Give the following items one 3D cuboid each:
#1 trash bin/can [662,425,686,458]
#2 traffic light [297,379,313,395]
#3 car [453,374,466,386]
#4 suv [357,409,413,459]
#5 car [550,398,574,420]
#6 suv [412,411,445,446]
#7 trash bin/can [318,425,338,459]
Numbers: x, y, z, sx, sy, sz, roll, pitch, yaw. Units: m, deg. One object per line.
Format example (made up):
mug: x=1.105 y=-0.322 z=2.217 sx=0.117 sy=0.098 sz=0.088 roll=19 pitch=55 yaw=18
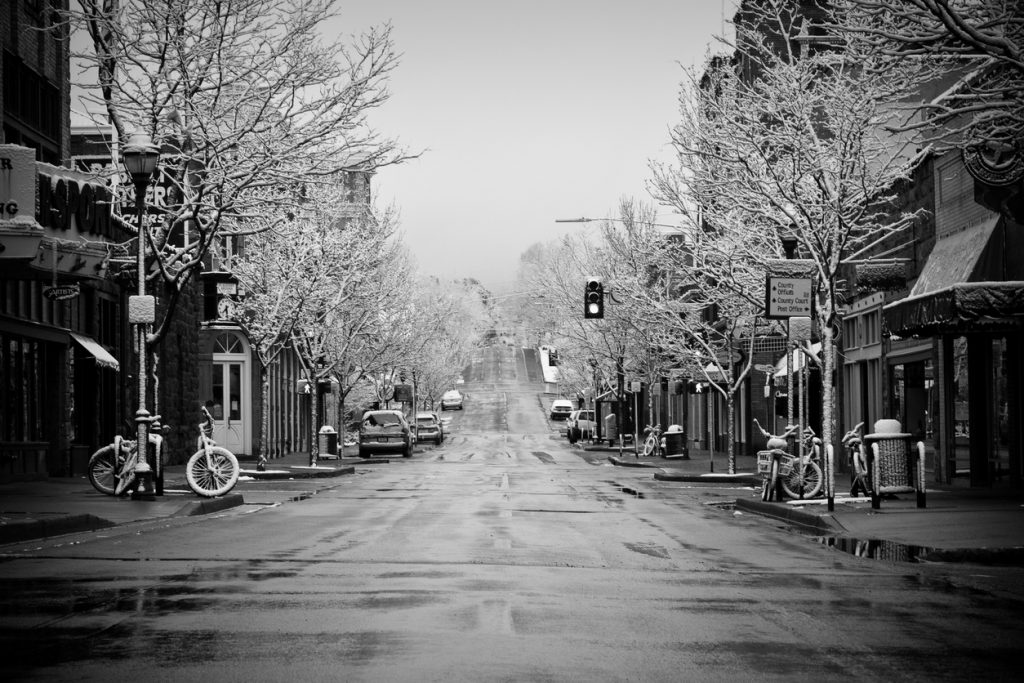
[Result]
trash bin/can: x=7.537 y=4.526 z=54.579 sx=1.284 sy=1.543 sz=1.419 roll=0 pitch=-5 yaw=-1
traffic light: x=-9.571 y=2.157 z=56.104 sx=0.852 sy=0.795 sz=0.819 roll=-1 pitch=6 yaw=-6
car: x=-6.687 y=5.468 z=160.553 sx=2.161 sy=1.082 sz=1.408 roll=6 pitch=-12 yaw=-11
suv: x=-6.062 y=4.439 z=57.615 sx=2.712 sy=2.267 sz=1.283 roll=3 pitch=-10 yaw=-25
car: x=4.799 y=6.508 z=114.573 sx=1.888 sy=1.274 sz=3.998 roll=0 pitch=3 yaw=2
suv: x=-5.499 y=5.857 z=79.630 sx=2.063 sy=1.535 sz=4.672 roll=0 pitch=4 yaw=5
trash bin/can: x=-8.544 y=4.794 z=56.561 sx=1.099 sy=1.848 sz=1.480 roll=-1 pitch=-2 yaw=9
